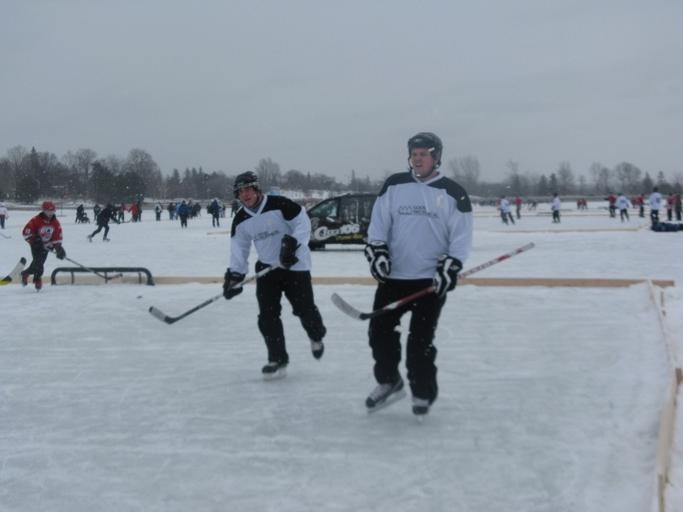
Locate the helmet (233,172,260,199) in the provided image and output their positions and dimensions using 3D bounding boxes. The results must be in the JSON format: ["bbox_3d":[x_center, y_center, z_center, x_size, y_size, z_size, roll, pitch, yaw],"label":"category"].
[{"bbox_3d":[-0.925,-0.668,7.636,0.249,0.286,0.271,-2,14,-7],"label":"helmet"}]

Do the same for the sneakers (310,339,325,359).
[{"bbox_3d":[-0.245,0.946,8.014,0.133,0.235,0.060,-1,8,-1],"label":"sneakers"}]

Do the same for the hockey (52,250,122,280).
[{"bbox_3d":[-4.833,0.183,14.932,0.839,0.099,0.263,24,55,19],"label":"hockey"}]

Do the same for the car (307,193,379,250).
[{"bbox_3d":[0.009,-0.851,18.225,1.479,0.824,1.068,2,5,6],"label":"car"}]

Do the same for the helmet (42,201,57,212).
[{"bbox_3d":[-4.566,-0.772,12.332,0.194,0.195,0.287,-1,2,-23],"label":"helmet"}]

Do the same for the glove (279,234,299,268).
[{"bbox_3d":[-0.509,-0.039,7.556,0.193,0.285,0.106,2,-7,-4],"label":"glove"}]

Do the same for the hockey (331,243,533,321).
[{"bbox_3d":[1.109,0.344,9.257,2.850,0.602,0.242,-13,-17,-15],"label":"hockey"}]

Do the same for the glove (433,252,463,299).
[{"bbox_3d":[0.884,0.161,6.566,0.252,0.318,0.134,9,-2,2],"label":"glove"}]

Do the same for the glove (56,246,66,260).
[{"bbox_3d":[-4.638,-0.040,12.977,0.086,0.244,0.172,-23,-5,3],"label":"glove"}]

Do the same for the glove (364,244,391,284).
[{"bbox_3d":[0.302,0.051,6.738,0.196,0.323,0.141,-14,11,39],"label":"glove"}]

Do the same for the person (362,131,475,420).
[{"bbox_3d":[0.646,0.175,6.743,0.899,2.356,0.680,1,14,7],"label":"person"}]

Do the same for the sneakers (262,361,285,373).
[{"bbox_3d":[-0.648,1.085,7.685,0.248,0.108,0.095,4,-7,-41],"label":"sneakers"}]

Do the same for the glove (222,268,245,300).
[{"bbox_3d":[-1.079,0.268,7.841,0.208,0.288,0.111,25,-3,-15],"label":"glove"}]

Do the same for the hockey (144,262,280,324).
[{"bbox_3d":[-1.712,0.513,10.248,1.399,0.446,0.164,-22,-31,25],"label":"hockey"}]

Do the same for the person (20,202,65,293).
[{"bbox_3d":[-4.911,-0.195,12.852,0.685,1.542,1.797,-6,15,-21],"label":"person"}]

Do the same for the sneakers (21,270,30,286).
[{"bbox_3d":[-5.045,0.342,12.535,0.155,0.241,0.079,-3,7,6],"label":"sneakers"}]

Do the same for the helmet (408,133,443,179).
[{"bbox_3d":[0.698,-0.855,6.814,0.298,0.430,0.349,4,4,29],"label":"helmet"}]

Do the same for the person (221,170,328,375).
[{"bbox_3d":[-0.677,0.146,7.767,0.997,2.020,0.787,2,14,11],"label":"person"}]
